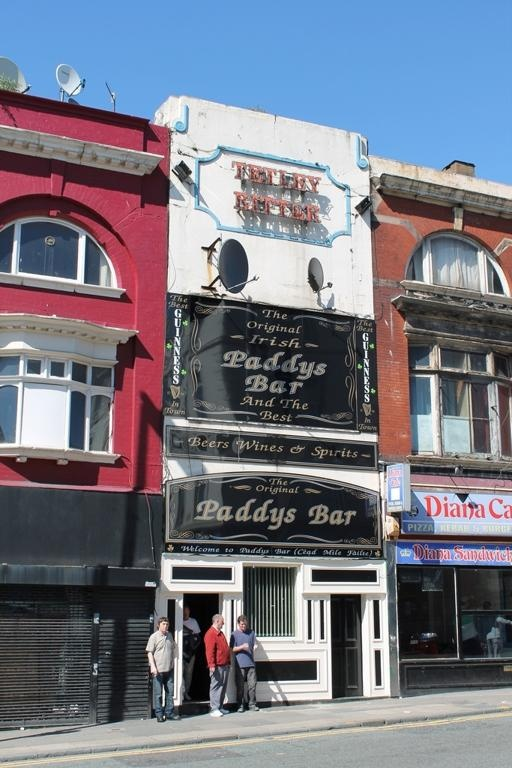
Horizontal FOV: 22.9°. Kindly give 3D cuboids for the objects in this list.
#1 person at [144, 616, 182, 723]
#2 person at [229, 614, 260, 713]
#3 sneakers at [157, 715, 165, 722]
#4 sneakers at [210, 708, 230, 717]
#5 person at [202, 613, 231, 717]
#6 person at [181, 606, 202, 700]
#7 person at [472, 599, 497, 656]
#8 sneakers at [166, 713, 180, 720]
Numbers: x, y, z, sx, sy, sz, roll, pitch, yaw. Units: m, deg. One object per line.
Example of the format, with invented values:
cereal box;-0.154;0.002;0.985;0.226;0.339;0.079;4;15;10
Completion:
person;-1.644;4.929;21.670;0.502;1.725;1.184;0;-16;-5
person;-0.245;5.048;22.737;0.455;1.712;0.618;-3;-16;5
sneakers;-1.625;5.664;21.334;0.106;0.110;0.116;-2;-14;6
sneakers;-0.678;5.737;22.067;0.142;0.117;0.338;-6;-2;-24
person;-0.688;5.001;22.333;0.424;1.791;0.853;-1;-16;-2
person;-1.221;4.992;23.298;0.308;1.700;0.515;-1;-16;-3
person;4.738;5.061;26.011;0.632;1.119;0.169;11;-20;-39
sneakers;-1.409;5.716;21.656;0.266;0.169;0.095;-2;-11;10
